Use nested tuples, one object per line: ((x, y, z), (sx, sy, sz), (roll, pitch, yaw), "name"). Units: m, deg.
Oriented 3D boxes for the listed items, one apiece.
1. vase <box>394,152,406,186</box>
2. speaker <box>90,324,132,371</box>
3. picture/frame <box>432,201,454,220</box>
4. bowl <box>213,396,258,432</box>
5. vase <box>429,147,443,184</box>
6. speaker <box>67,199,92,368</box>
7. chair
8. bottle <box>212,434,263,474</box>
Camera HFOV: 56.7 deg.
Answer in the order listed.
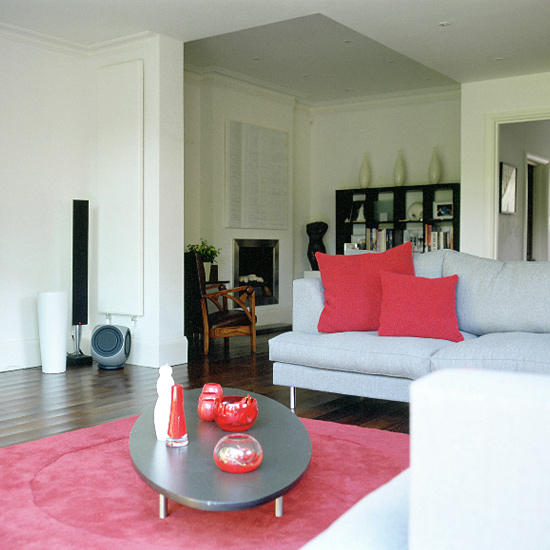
((1.822, -1.539, 7.431), (0.151, 0.494, 0.180), (0, 1, 23), "vase")
((-1.482, 0.644, 4.577), (0.270, 0.432, 0.280), (1, -6, -11), "speaker")
((2.352, -0.887, 7.101), (0.242, 0.274, 0.034), (-1, -3, 37), "picture/frame")
((-0.135, 0.490, 1.859), (0.118, 0.115, 0.129), (-1, -7, 0), "bowl")
((2.246, -1.517, 7.167), (0.188, 0.487, 0.224), (1, 1, 28), "vase")
((-1.802, 0.065, 4.688), (0.216, 1.520, 0.265), (0, 1, -24), "speaker")
((-0.542, 0.293, 5.136), (0.703, 1.009, 0.776), (-2, 2, 20), "chair")
((-0.116, 0.552, 1.572), (0.149, 0.107, 0.157), (-5, -9, -1), "bottle")
